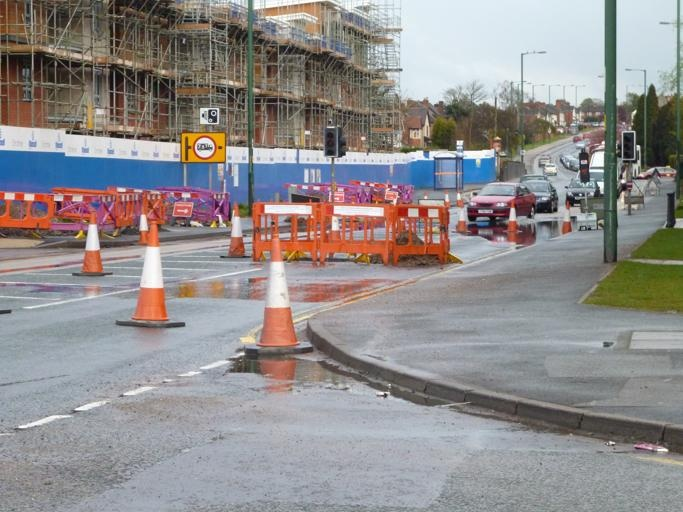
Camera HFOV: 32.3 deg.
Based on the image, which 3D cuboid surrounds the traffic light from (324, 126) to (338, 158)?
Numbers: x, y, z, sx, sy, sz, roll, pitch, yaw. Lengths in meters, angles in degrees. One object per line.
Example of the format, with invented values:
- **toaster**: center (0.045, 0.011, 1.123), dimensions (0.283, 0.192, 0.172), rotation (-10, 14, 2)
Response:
- **traffic light**: center (-0.260, -2.943, 30.551), dimensions (0.327, 0.786, 0.561), rotation (-1, 10, 0)

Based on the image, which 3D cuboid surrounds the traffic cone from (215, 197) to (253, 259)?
- **traffic cone**: center (-2.474, -0.678, 27.736), dimensions (0.983, 1.151, 0.979), rotation (2, 9, 20)
